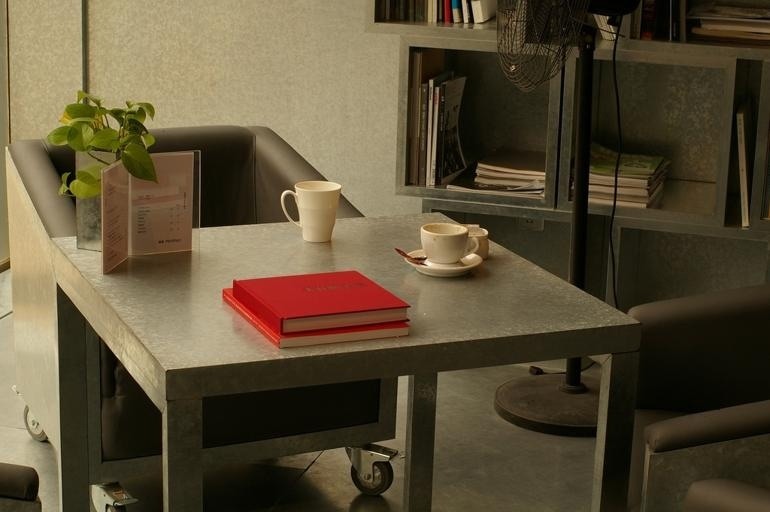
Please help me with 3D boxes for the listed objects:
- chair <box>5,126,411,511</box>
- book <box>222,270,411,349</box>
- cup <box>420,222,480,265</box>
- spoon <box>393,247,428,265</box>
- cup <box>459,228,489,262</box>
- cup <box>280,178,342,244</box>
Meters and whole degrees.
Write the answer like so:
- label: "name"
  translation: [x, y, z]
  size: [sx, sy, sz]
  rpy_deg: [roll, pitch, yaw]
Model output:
- label: "chair"
  translation: [-0.626, 0.187, 2.436]
  size: [1.147, 1.234, 1.444]
  rpy_deg: [-9, 22, -29]
- label: "book"
  translation: [-0.145, 0.098, 1.408]
  size: [0.337, 0.076, 0.251]
  rpy_deg: [-7, 20, -15]
- label: "cup"
  translation: [0.152, -0.023, 1.660]
  size: [0.133, 0.081, 0.111]
  rpy_deg: [15, 20, 39]
- label: "spoon"
  translation: [0.062, -0.007, 1.692]
  size: [0.058, 0.009, 0.038]
  rpy_deg: [31, 18, 24]
- label: "cup"
  translation: [0.222, -0.031, 1.746]
  size: [0.058, 0.057, 0.083]
  rpy_deg: [0, 7, 0]
- label: "cup"
  translation: [-0.190, -0.106, 1.821]
  size: [0.156, 0.129, 0.121]
  rpy_deg: [-1, 9, -19]
